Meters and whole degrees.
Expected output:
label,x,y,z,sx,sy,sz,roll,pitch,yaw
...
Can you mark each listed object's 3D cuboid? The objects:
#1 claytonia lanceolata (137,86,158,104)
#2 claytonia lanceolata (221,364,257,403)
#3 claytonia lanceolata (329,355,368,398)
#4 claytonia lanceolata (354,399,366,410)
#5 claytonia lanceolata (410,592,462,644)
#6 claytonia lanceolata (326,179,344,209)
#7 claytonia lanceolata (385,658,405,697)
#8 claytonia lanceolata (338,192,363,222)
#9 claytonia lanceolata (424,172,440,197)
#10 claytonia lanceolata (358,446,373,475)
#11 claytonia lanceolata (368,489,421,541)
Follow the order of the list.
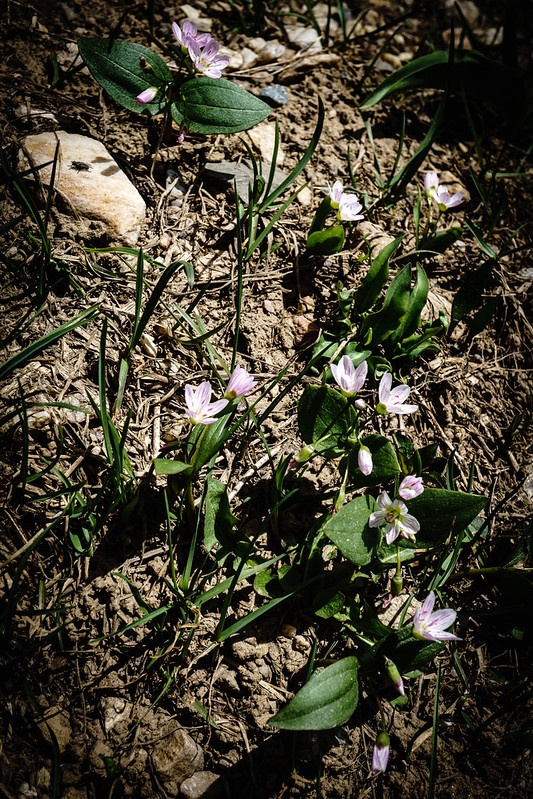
label,x,y,z,sx,sy,sz,roll,pitch,yaw
claytonia lanceolata,-0.346,-0.885,1.994,0.030,0.042,0.081,3,27,32
claytonia lanceolata,-0.068,-0.036,1.726,0.055,0.092,0.086,19,13,-5
claytonia lanceolata,0.214,-0.062,1.802,0.085,0.076,0.108,23,14,10
claytonia lanceolata,0.253,0.014,1.865,0.014,0.027,0.027,-28,-17,30
claytonia lanceolata,0.418,0.540,1.689,0.104,0.111,0.108,25,14,16
claytonia lanceolata,0.210,-0.616,2.062,0.044,0.052,0.046,18,13,-10
claytonia lanceolata,0.307,0.663,1.664,0.030,0.104,0.034,-21,6,10
claytonia lanceolata,0.261,-0.598,2.138,0.077,0.057,0.168,21,13,0
claytonia lanceolata,0.560,-0.714,2.316,0.046,0.137,0.058,0,8,1
claytonia lanceolata,0.254,0.159,1.754,0.039,0.075,0.027,-9,-19,7
claytonia lanceolata,0.327,0.298,1.751,0.150,0.064,0.114,-18,33,-35
